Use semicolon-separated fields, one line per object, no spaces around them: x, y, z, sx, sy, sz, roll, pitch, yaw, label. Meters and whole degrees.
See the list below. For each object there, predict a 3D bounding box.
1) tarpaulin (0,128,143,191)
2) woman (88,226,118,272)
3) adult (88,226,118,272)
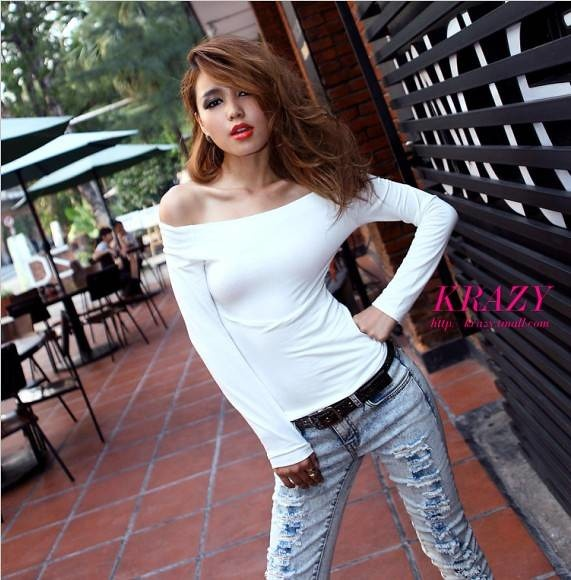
-3.377;-2.064;7.537;1.415;0.245;1.414;-28;5;18;tarpaulin
-3.367;-0.814;9.700;0.559;0.845;0.588;-11;2;37;woman
-3.395;-0.824;9.652;0.645;0.780;0.609;-13;20;-37;adult
